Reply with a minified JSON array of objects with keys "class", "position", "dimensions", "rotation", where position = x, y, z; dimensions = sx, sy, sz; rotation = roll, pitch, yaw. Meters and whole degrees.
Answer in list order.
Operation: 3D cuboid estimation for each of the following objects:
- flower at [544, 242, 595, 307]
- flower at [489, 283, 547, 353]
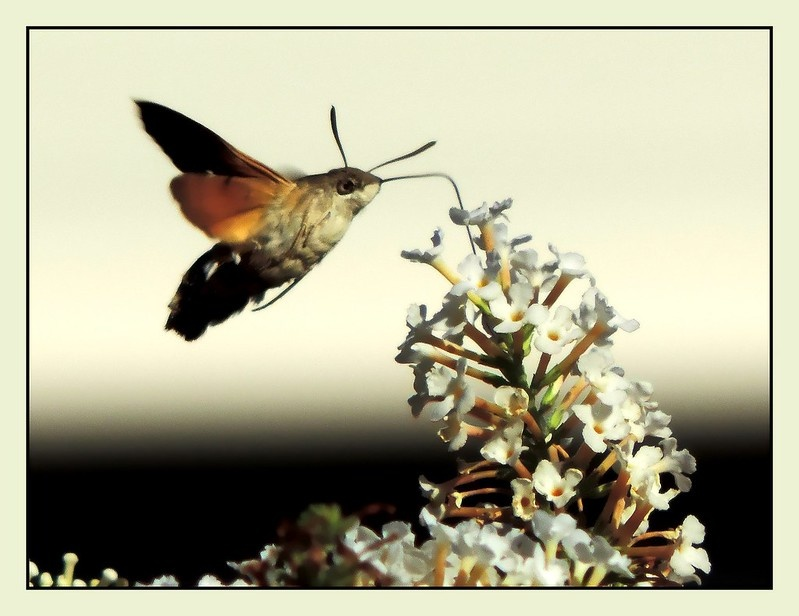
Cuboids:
[{"class":"flower","position":[0.582,-0.111,4.632],"dimensions":[0.137,0.151,0.196],"rotation":[44,-74,-4]},{"class":"flower","position":[0.449,0.016,5.148],"dimensions":[0.214,0.212,0.104],"rotation":[-15,-27,8]}]
